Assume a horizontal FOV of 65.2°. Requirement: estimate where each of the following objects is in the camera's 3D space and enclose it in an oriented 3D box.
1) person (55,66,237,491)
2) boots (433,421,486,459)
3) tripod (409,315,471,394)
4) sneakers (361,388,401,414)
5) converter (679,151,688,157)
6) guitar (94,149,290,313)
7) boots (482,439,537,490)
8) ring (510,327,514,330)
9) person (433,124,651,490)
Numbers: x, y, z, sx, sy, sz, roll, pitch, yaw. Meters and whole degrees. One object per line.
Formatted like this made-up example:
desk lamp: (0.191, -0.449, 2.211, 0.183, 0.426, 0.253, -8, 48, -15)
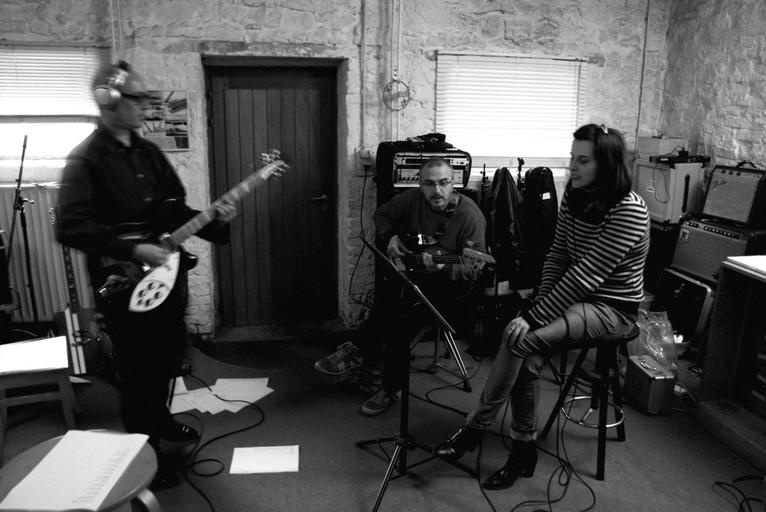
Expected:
person: (-1.462, 0.129, 3.619, 0.545, 2.494, 0.589, 5, 17, 22)
boots: (0.457, 1.167, 3.765, 0.307, 0.182, 0.099, -6, 16, -11)
tripod: (0.435, 0.762, 4.514, 0.550, 0.685, 0.461, 4, 34, 5)
sneakers: (0.008, 1.029, 4.371, 0.118, 0.136, 0.355, 39, 32, 31)
converter: (2.633, -0.885, 5.230, 0.050, 0.064, 0.069, -11, 10, -8)
guitar: (-1.345, -0.233, 4.266, 1.599, 0.563, 0.217, -42, 40, -19)
boots: (0.791, 1.273, 3.709, 0.394, 0.270, 0.152, -6, 15, -25)
ring: (0.767, 0.430, 3.559, 0.013, 0.012, 0.022, 24, -18, -7)
person: (1.038, 0.304, 3.660, 1.085, 2.134, 0.518, -10, 18, -27)
